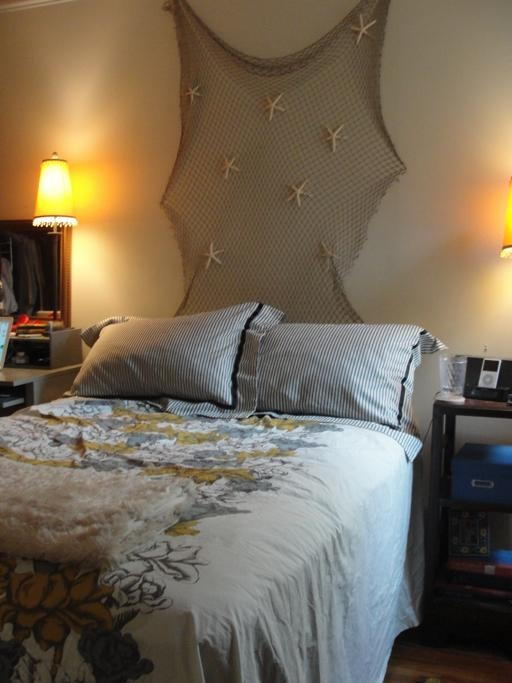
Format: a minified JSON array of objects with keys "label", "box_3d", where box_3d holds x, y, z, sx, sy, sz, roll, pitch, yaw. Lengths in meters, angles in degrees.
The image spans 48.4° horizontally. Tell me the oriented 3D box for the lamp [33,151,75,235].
[{"label":"lamp","box_3d":[-0.996,-0.738,2.806,0.192,0.319,0.160,-3,6,-22]}]
